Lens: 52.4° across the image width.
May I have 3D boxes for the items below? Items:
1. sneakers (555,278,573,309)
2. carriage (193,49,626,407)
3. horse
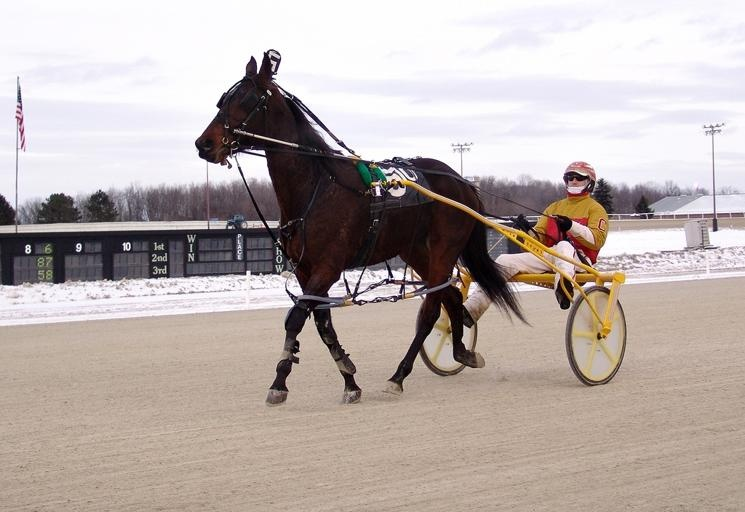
[{"bbox_3d":[1.853,0.365,7.286,0.130,0.371,0.152,-1,-3,-2],"label":"sneakers"},{"bbox_3d":[0.272,-0.146,7.288,4.183,2.936,2.025,4,-2,-29],"label":"carriage"},{"bbox_3d":[0.018,-0.176,7.021,3.363,2.938,0.856,4,-5,-30],"label":"horse"}]
